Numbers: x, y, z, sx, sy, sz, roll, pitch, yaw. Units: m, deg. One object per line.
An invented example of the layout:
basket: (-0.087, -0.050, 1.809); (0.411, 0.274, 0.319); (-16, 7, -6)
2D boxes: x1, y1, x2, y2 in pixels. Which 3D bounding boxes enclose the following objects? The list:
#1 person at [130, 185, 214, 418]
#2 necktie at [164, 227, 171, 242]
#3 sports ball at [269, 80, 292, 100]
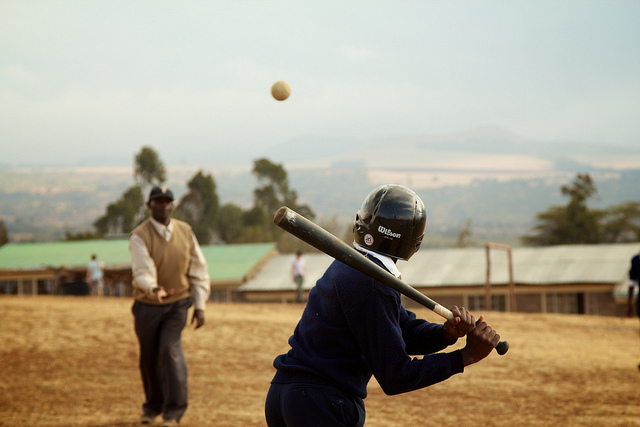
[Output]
person: (-2.175, 1.335, 15.522); (1.037, 3.381, 0.599); (-2, 4, -12)
necktie: (-2.197, 0.330, 15.565); (0.099, 0.162, 0.043); (9, 11, 22)
sports ball: (-0.561, -1.757, 15.492); (0.262, 0.258, 0.178); (-2, 4, -2)
